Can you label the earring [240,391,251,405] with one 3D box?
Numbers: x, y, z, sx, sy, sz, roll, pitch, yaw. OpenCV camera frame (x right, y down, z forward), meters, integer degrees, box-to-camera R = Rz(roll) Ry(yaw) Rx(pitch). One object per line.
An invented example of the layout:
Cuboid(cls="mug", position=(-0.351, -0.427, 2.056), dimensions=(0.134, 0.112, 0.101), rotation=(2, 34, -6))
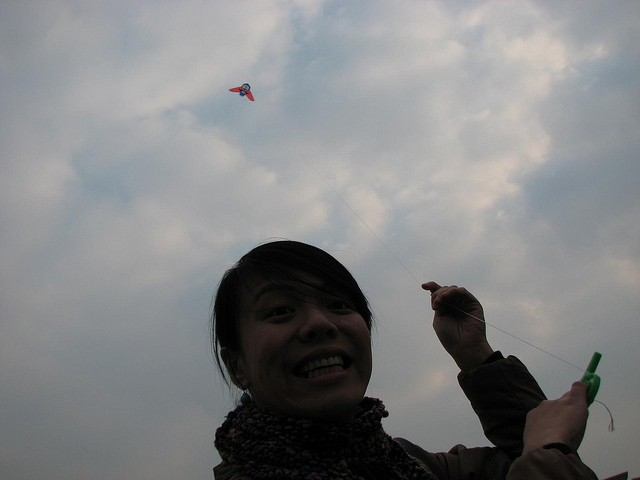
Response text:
Cuboid(cls="earring", position=(-0.502, 1.067, 5.322), dimensions=(0.064, 0.095, 0.076), rotation=(-7, -35, -21))
